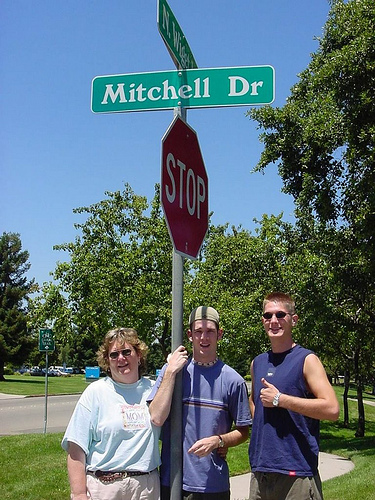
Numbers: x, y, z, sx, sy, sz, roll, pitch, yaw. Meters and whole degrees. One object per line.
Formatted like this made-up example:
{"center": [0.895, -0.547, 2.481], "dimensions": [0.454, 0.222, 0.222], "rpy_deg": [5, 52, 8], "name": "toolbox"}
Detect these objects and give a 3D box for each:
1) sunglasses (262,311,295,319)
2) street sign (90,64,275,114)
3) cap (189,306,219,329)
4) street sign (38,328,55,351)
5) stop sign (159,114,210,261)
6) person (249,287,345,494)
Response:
{"center": [0.586, 0.416, 3.808], "dimensions": [0.196, 0.049, 0.098], "rpy_deg": [-1, -9, 10], "name": "sunglasses"}
{"center": [0.015, -0.835, 3.080], "dimensions": [0.906, 0.267, 0.071], "rpy_deg": [0, -13, 3], "name": "street sign"}
{"center": [0.094, 0.372, 3.320], "dimensions": [0.160, 0.127, 0.181], "rpy_deg": [0, -8, 2], "name": "cap"}
{"center": [-3.776, 2.399, 15.949], "dimensions": [0.397, 0.592, 0.779], "rpy_deg": [2, -9, -14], "name": "street sign"}
{"center": [-0.009, -0.309, 2.944], "dimensions": [0.095, 0.703, 0.542], "rpy_deg": [-3, -9, 19], "name": "stop sign"}
{"center": [0.616, 0.855, 3.584], "dimensions": [0.457, 1.236, 0.648], "rpy_deg": [0, -8, 0], "name": "person"}
